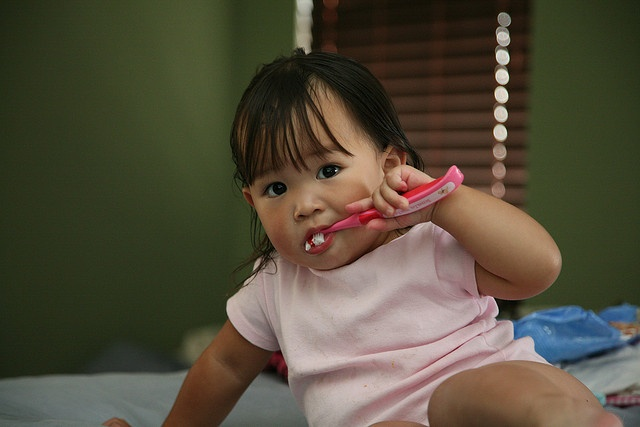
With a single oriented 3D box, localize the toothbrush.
[{"bbox_3d":[0.150,-0.009,1.601,0.320,0.048,0.071,-27,21,10],"label":"toothbrush"}]
